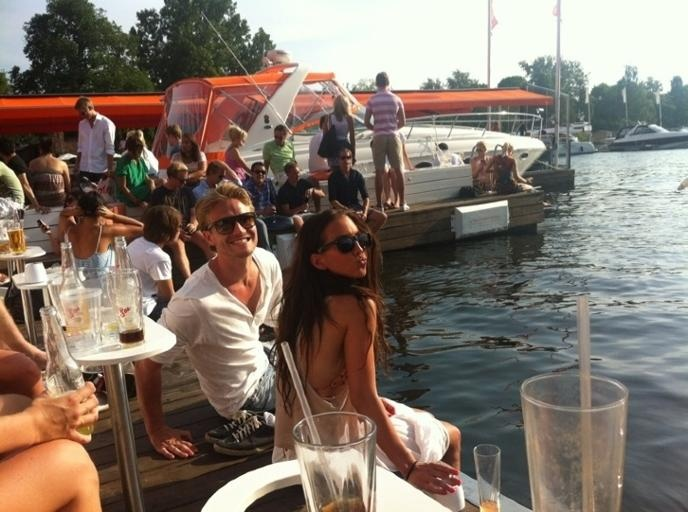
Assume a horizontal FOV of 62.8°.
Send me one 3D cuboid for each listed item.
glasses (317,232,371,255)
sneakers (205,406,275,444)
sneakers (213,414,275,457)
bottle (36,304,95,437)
[{"bbox_3d":[0.032,-0.063,2.539,0.118,0.051,0.148,-12,-4,-29],"label":"glasses"},{"bbox_3d":[-0.603,1.002,3.469,0.477,0.186,0.176,-3,9,-13],"label":"sneakers"},{"bbox_3d":[-0.561,1.048,3.418,0.465,0.197,0.168,-2,13,-19],"label":"sneakers"},{"bbox_3d":[-1.166,0.379,2.329,0.146,0.376,0.306,-7,11,-29],"label":"bottle"}]
